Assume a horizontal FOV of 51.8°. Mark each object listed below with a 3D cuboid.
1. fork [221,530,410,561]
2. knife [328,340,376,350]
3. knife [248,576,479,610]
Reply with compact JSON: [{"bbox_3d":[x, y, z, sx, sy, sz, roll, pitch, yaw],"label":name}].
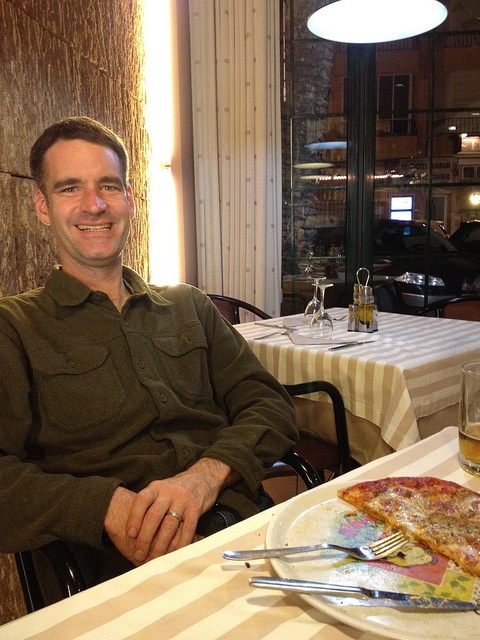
[{"bbox_3d":[0.077,0.212,0.464,0.149,0.024,0.021,-3,-4,-10],"label":"fork"},{"bbox_3d":[0.393,0.083,1.737,0.053,0.016,0.309,-10,-2,39],"label":"knife"},{"bbox_3d":[0.102,0.217,0.393,0.166,0.016,0.020,3,5,8],"label":"knife"}]
